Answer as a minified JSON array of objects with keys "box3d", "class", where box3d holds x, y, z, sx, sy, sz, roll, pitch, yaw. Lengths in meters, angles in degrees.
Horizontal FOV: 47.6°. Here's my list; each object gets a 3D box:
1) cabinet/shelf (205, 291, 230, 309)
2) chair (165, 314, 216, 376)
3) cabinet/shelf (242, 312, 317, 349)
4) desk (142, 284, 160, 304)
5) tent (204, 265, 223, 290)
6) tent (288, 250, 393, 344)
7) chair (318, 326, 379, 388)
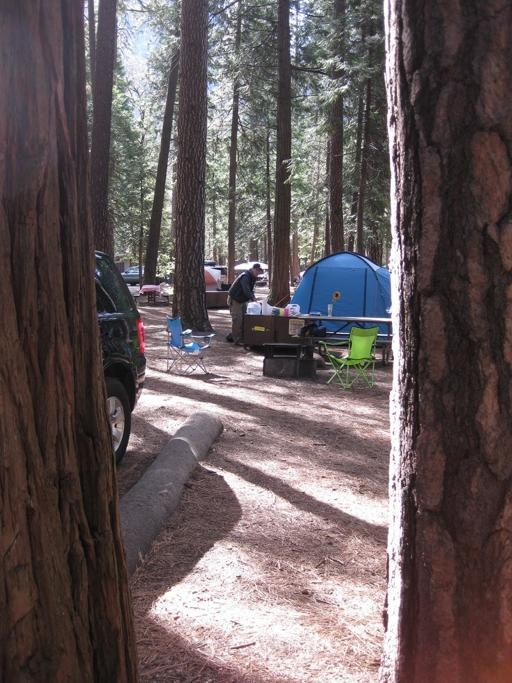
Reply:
[{"box3d":[-1.584,-1.685,23.425,0.467,0.675,1.282,6,6,38],"class":"cabinet/shelf"},{"box3d":[-1.176,-0.009,11.139,0.550,1.127,0.812,-2,15,-7],"class":"chair"},{"box3d":[0.441,-0.124,11.990,1.131,0.870,2.590,2,6,-11],"class":"cabinet/shelf"},{"box3d":[-4.327,-2.018,23.860,0.621,0.998,0.904,3,9,26],"class":"desk"},{"box3d":[-2.062,-3.145,27.643,0.889,1.955,0.407,5,-13,-45],"class":"tent"},{"box3d":[2.076,-1.226,13.810,1.659,1.642,2.040,1,15,1],"class":"tent"},{"box3d":[1.644,0.153,9.873,0.652,1.168,0.847,3,16,5],"class":"chair"}]
